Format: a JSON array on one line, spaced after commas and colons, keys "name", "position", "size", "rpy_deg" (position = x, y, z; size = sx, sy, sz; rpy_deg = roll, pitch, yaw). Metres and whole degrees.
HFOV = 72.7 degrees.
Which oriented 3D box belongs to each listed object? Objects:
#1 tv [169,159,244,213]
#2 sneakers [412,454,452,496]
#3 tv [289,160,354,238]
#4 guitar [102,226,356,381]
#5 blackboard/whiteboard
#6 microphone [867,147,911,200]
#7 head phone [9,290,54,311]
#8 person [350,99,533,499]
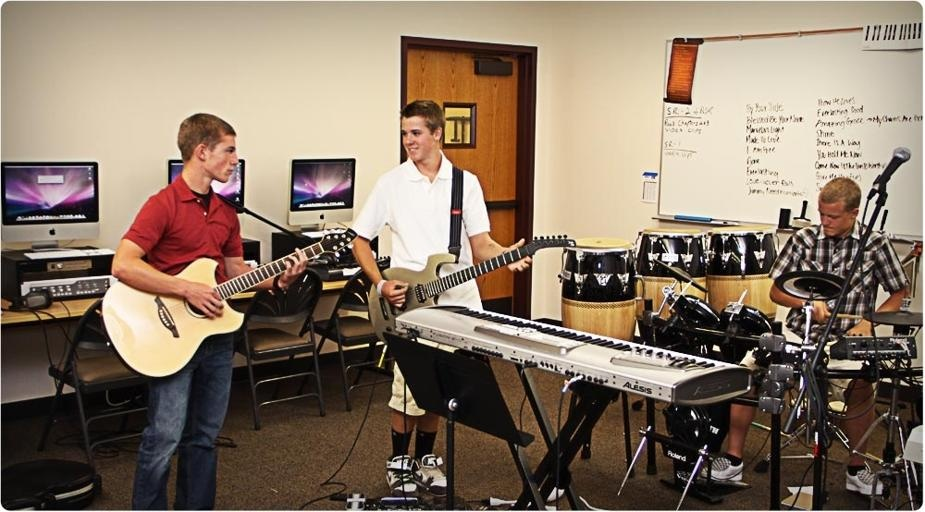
[{"name": "tv", "position": [-1.688, -0.468, 4.080], "size": [0.056, 0.445, 0.689], "rpy_deg": [7, 6, 39]}, {"name": "sneakers", "position": [-0.216, 1.527, 4.466], "size": [0.171, 0.197, 0.493], "rpy_deg": [2, 1, -27]}, {"name": "tv", "position": [-1.342, -0.582, 5.911], "size": [0.854, 0.772, 0.271], "rpy_deg": [-4, 12, -34]}, {"name": "guitar", "position": [-1.525, 0.307, 3.793], "size": [1.163, 0.746, 0.259], "rpy_deg": [-3, 11, -25]}, {"name": "blackboard/whiteboard", "position": [3.085, -1.154, 5.801], "size": [2.589, 1.695, 0.108], "rpy_deg": [2, 0, 32]}, {"name": "microphone", "position": [2.569, -0.514, 3.789], "size": [0.152, 0.278, 0.532], "rpy_deg": [8, 11, 32]}, {"name": "head phone", "position": [-3.328, 0.357, 4.845], "size": [0.242, 0.101, 0.171], "rpy_deg": [-12, 8, 27]}, {"name": "person", "position": [-0.103, 0.299, 4.351], "size": [1.340, 2.671, 0.867], "rpy_deg": [-1, 5, -24]}]
